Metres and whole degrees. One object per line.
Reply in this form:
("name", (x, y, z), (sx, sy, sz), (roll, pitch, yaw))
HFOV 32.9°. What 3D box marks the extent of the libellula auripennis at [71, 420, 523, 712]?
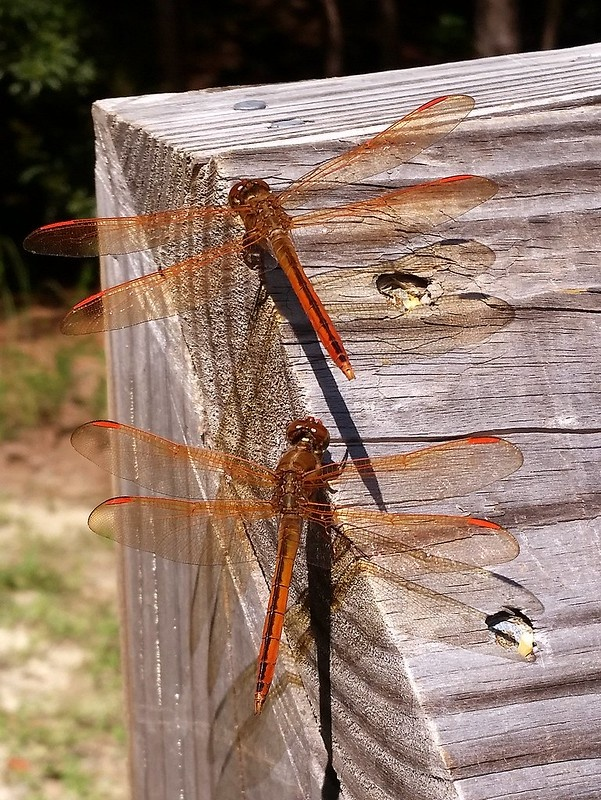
("libellula auripennis", (-0.013, 0.152, 1.250), (0.499, 0.097, 0.263), (6, 22, -2))
